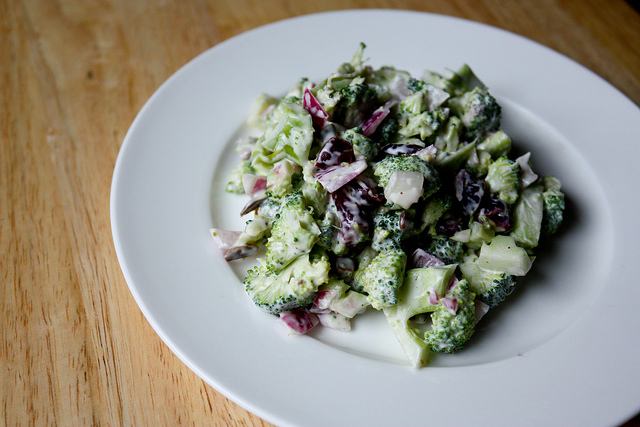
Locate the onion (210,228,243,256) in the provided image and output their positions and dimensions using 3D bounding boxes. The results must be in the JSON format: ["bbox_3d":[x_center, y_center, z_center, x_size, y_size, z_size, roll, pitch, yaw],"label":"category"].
[{"bbox_3d":[-0.430,0.125,2.764,0.140,0.072,0.112,7,85,2],"label":"onion"}]

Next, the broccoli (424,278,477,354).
[{"bbox_3d":[0.547,0.433,2.576,0.189,0.154,0.312,38,87,5],"label":"broccoli"}]

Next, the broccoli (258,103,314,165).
[{"bbox_3d":[-0.138,-0.337,2.683,0.238,0.082,0.260,3,90,27],"label":"broccoli"}]

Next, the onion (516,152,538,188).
[{"bbox_3d":[0.922,-0.191,2.780,0.112,0.047,0.131,-15,87,-16],"label":"onion"}]

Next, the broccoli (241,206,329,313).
[{"bbox_3d":[-0.121,0.203,2.592,0.360,0.139,0.433,14,94,30],"label":"broccoli"}]

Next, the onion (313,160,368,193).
[{"bbox_3d":[0.088,-0.173,2.630,0.184,0.042,0.125,-40,62,0],"label":"onion"}]

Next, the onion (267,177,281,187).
[{"bbox_3d":[-0.205,-0.137,2.678,0.039,0.011,0.041,-6,67,45],"label":"onion"}]

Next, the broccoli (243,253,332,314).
[{"bbox_3d":[-0.141,0.270,2.675,0.389,0.106,0.294,-17,42,-27],"label":"broccoli"}]

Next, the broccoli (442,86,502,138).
[{"bbox_3d":[0.690,-0.462,2.843,0.240,0.108,0.246,-33,72,5],"label":"broccoli"}]

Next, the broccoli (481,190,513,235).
[{"bbox_3d":[0.761,0.002,2.703,0.128,0.061,0.178,6,75,-7],"label":"broccoli"}]

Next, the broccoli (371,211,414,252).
[{"bbox_3d":[0.306,0.078,2.629,0.173,0.056,0.171,1,85,2],"label":"broccoli"}]

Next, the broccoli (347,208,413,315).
[{"bbox_3d":[0.273,0.189,2.633,0.254,0.092,0.420,-5,66,34],"label":"broccoli"}]

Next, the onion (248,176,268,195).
[{"bbox_3d":[-0.285,-0.125,2.845,0.073,0.025,0.078,10,94,-6],"label":"onion"}]

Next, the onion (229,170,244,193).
[{"bbox_3d":[-0.382,-0.146,2.895,0.021,0.073,0.096,-7,78,-36],"label":"onion"}]

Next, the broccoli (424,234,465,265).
[{"bbox_3d":[0.538,0.155,2.679,0.150,0.055,0.110,26,84,14],"label":"broccoli"}]

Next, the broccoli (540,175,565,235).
[{"bbox_3d":[1.031,-0.038,2.776,0.149,0.057,0.228,6,75,-1],"label":"broccoli"}]

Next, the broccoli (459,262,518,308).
[{"bbox_3d":[0.683,0.310,2.667,0.185,0.236,0.113,-23,99,-40],"label":"broccoli"}]

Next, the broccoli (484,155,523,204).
[{"bbox_3d":[0.802,-0.150,2.723,0.176,0.081,0.190,-13,93,11],"label":"broccoli"}]

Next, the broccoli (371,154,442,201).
[{"bbox_3d":[0.377,-0.163,2.638,0.198,0.062,0.222,5,48,-9],"label":"broccoli"}]

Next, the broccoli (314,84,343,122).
[{"bbox_3d":[0.032,-0.494,2.747,0.137,0.215,0.052,12,63,-8],"label":"broccoli"}]

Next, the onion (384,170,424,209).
[{"bbox_3d":[0.351,-0.110,2.560,0.143,0.050,0.156,26,86,4],"label":"onion"}]

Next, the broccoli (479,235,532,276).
[{"bbox_3d":[0.760,0.161,2.749,0.286,0.315,0.120,14,97,25],"label":"broccoli"}]

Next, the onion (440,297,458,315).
[{"bbox_3d":[0.526,0.376,2.542,0.067,0.019,0.068,0,85,2],"label":"onion"}]

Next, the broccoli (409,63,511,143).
[{"bbox_3d":[0.643,-0.525,2.903,0.419,0.149,0.436,17,34,-12],"label":"broccoli"}]

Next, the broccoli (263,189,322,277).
[{"bbox_3d":[-0.138,0.085,2.616,0.215,0.108,0.404,23,60,0],"label":"broccoli"}]

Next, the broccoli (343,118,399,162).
[{"bbox_3d":[0.230,-0.310,2.722,0.211,0.072,0.185,-7,88,-36],"label":"broccoli"}]

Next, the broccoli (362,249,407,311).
[{"bbox_3d":[0.258,0.284,2.595,0.168,0.077,0.256,-1,44,23],"label":"broccoli"}]

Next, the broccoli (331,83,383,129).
[{"bbox_3d":[0.171,-0.516,2.822,0.200,0.274,0.109,4,91,29],"label":"broccoli"}]

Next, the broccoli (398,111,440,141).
[{"bbox_3d":[0.433,-0.402,2.765,0.189,0.207,0.053,0,65,-3],"label":"broccoli"}]
